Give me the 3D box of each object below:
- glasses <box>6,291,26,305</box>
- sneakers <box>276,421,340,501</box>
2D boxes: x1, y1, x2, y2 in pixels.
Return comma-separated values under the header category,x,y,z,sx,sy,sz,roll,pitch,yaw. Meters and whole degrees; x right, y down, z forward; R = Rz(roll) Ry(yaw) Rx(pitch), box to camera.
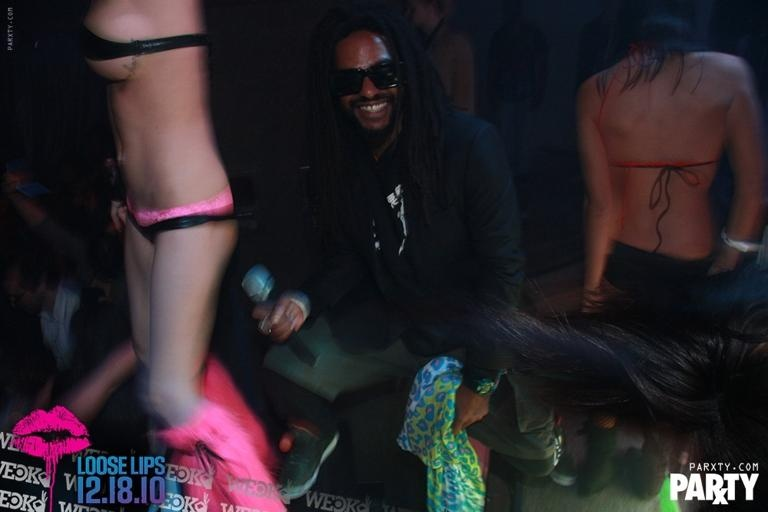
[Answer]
category,x,y,z,sx,sy,sz,roll,pitch,yaw
glasses,-1.638,0.189,2.703,0.064,0.047,0.017,29,-8,-4
sneakers,-0.338,0.883,2.721,0.160,0.446,0.178,29,13,34
